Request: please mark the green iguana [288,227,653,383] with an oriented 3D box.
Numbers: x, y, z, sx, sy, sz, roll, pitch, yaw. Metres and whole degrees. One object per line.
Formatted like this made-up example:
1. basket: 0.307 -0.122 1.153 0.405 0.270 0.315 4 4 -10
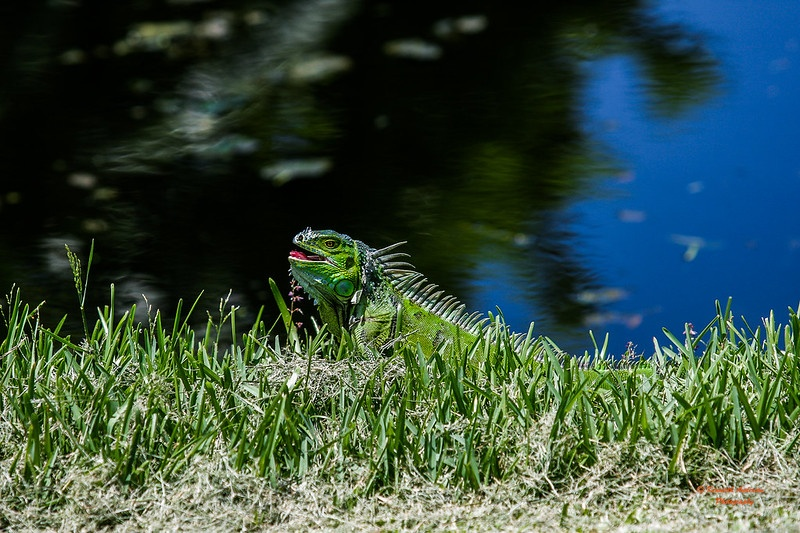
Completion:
1. green iguana: -0.081 0.113 4.605 0.862 0.526 0.369 -1 19 -4
